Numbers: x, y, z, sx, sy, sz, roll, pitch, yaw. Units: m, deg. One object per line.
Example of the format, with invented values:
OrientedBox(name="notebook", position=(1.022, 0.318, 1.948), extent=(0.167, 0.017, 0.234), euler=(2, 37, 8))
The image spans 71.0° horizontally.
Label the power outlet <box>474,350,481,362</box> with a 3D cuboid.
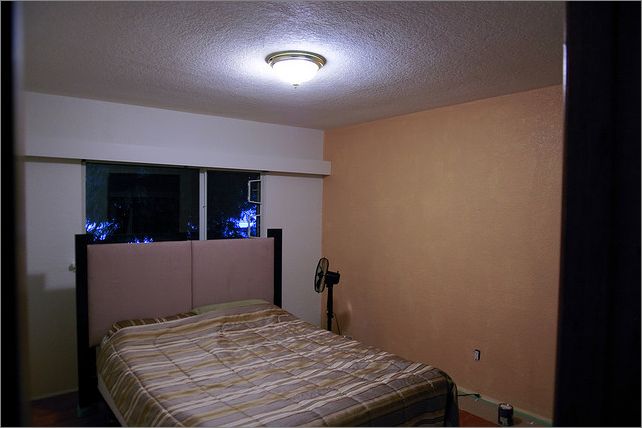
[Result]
OrientedBox(name="power outlet", position=(1.441, 1.303, 4.156), extent=(0.018, 0.113, 0.064), euler=(-5, 9, -40))
